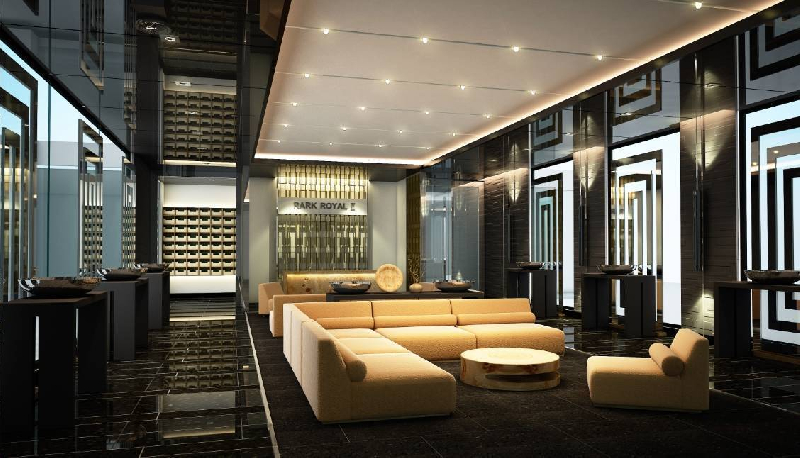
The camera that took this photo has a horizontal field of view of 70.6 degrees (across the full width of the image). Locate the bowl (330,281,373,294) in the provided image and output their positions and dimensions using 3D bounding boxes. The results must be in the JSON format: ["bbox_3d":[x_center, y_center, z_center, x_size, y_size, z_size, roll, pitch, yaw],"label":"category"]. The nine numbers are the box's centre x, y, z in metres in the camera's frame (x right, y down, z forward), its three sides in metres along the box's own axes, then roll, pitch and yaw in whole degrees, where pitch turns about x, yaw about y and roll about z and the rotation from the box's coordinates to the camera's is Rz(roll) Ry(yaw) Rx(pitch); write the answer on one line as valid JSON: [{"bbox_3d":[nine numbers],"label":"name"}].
[{"bbox_3d":[-0.743,1.087,10.474,0.501,0.163,0.563,-6,-9,43],"label":"bowl"}]

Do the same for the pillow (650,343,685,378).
[{"bbox_3d":[3.607,1.671,7.641,0.314,0.232,0.613,-7,3,4],"label":"pillow"}]

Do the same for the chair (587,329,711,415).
[{"bbox_3d":[3.481,1.930,8.010,1.615,0.805,1.406,-3,-2,13],"label":"chair"}]

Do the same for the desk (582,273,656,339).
[{"bbox_3d":[4.656,1.571,12.063,0.815,1.176,1.610,-2,2,-12],"label":"desk"}]

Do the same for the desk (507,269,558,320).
[{"bbox_3d":[3.292,1.336,14.165,0.649,0.894,1.093,3,4,-9],"label":"desk"}]

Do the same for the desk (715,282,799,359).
[{"bbox_3d":[6.064,1.565,9.631,1.530,1.083,0.496,-3,-7,34],"label":"desk"}]
